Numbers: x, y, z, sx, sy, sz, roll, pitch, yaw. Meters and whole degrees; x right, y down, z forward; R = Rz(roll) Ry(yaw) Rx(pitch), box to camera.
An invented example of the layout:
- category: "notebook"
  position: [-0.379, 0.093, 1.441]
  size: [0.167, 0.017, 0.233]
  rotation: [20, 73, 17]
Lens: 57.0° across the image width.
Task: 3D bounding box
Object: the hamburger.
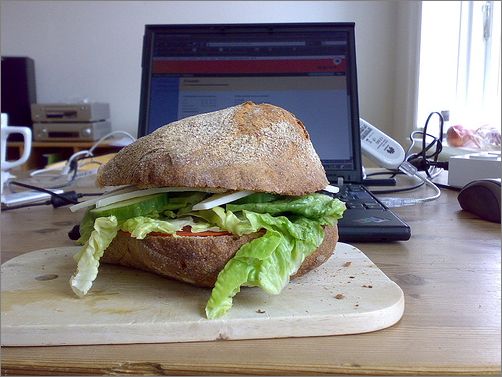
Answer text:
- category: "hamburger"
  position: [-0.037, 0.005, 0.853]
  size: [0.469, 0.232, 0.419]
  rotation: [-6, 14, -27]
